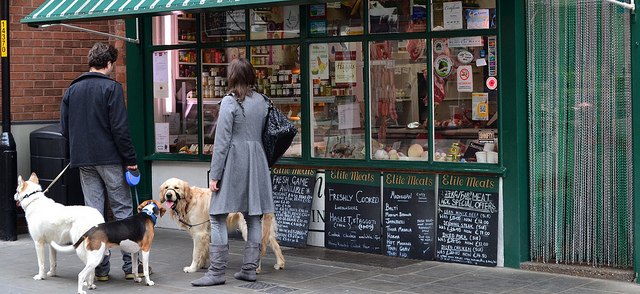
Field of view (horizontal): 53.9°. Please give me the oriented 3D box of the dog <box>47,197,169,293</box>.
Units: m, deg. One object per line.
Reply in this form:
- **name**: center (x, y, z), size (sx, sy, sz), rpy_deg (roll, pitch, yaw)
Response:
- **dog**: center (-3.912, 1.802, 11.783), size (1.869, 1.527, 1.459), rpy_deg (-12, 19, -37)

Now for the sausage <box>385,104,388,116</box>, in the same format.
- **sausage**: center (1.376, -0.768, 13.087), size (0.051, 0.243, 0.063), rpy_deg (0, 16, 1)

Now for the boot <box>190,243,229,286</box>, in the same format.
- **boot**: center (-2.069, 2.198, 11.785), size (0.674, 0.758, 0.510), rpy_deg (1, -2, -3)

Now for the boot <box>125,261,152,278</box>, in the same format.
- **boot**: center (-3.494, 2.326, 12.085), size (0.526, 0.316, 0.345), rpy_deg (-7, 16, -22)

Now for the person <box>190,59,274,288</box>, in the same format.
- **person**: center (-1.486, 0.468, 11.767), size (1.068, 4.063, 1.454), rpy_deg (4, 16, 16)
